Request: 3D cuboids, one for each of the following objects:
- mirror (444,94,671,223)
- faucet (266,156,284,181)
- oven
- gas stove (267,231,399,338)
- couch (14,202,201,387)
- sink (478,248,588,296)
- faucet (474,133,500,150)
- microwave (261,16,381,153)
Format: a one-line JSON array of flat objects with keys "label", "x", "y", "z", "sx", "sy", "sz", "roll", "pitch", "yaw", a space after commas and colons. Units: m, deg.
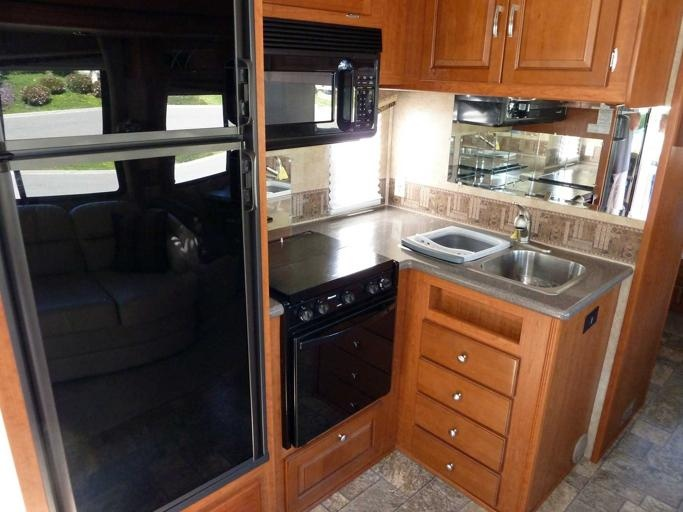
[{"label": "mirror", "x": 1.202, "y": -0.700, "z": 2.879, "sx": 1.055, "sy": 0.692, "sz": 0.573, "roll": 21, "pitch": 36, "yaw": 37}, {"label": "faucet", "x": -0.342, "y": -0.470, "z": 2.771, "sx": 0.143, "sy": 0.126, "sz": 0.055, "roll": 1, "pitch": 31, "yaw": -7}, {"label": "oven", "x": -0.019, "y": 0.505, "z": 2.273, "sx": 0.627, "sy": 0.539, "sz": 0.341, "roll": -21, "pitch": 34, "yaw": -36}, {"label": "gas stove", "x": -0.163, "y": 0.108, "z": 2.455, "sx": 0.627, "sy": 0.257, "sz": 0.638, "roll": -19, "pitch": 30, "yaw": -34}, {"label": "couch", "x": -0.781, "y": 0.082, "z": 1.573, "sx": 0.324, "sy": 0.428, "sz": 0.607, "roll": 28, "pitch": 25, "yaw": 32}, {"label": "sink", "x": 1.020, "y": 0.058, "z": 2.601, "sx": 0.320, "sy": 0.133, "sz": 0.312, "roll": -26, "pitch": 36, "yaw": -36}, {"label": "faucet", "x": 0.835, "y": -0.651, "z": 2.885, "sx": 0.036, "sy": 0.098, "sz": 0.097, "roll": -22, "pitch": 7, "yaw": -27}, {"label": "microwave", "x": -0.208, "y": -0.770, "z": 2.282, "sx": 0.732, "sy": 0.496, "sz": 0.400, "roll": -17, "pitch": 27, "yaw": -42}]
